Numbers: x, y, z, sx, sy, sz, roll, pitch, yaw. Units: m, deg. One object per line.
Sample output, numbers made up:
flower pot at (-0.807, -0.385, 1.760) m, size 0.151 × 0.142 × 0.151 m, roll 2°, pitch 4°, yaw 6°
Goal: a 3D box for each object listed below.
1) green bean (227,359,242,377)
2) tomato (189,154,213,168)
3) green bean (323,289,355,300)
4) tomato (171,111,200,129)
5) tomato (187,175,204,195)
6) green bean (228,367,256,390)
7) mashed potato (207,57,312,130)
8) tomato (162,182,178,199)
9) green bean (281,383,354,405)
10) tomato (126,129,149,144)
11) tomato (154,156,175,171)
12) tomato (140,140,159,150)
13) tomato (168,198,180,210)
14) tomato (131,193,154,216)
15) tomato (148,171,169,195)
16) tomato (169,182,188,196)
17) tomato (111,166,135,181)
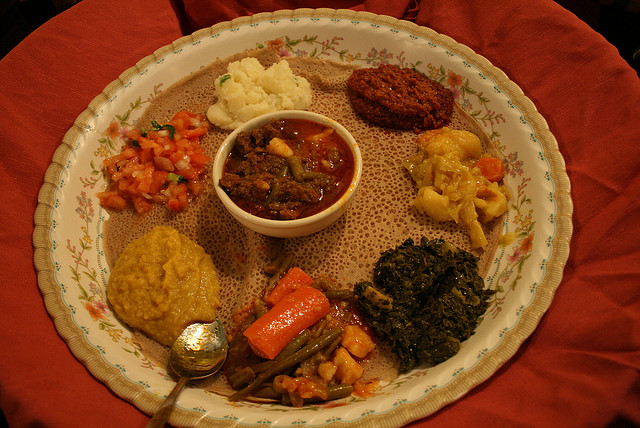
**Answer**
green bean at (-0.894, 1.591, 5.696) m, size 0.116 × 0.051 × 0.181 m, roll -8°, pitch 46°, yaw 24°
tomato at (-1.414, -0.623, 6.499) m, size 0.232 × 0.164 × 0.156 m, roll 2°, pitch 85°, yaw -2°
green bean at (0.197, 0.854, 5.907) m, size 0.395 × 0.112 × 0.124 m, roll 0°, pitch 60°, yaw 3°
tomato at (-1.613, -1.120, 6.602) m, size 0.325 × 0.109 × 0.191 m, roll 30°, pitch 84°, yaw 1°
tomato at (-1.456, -0.335, 6.407) m, size 0.172 × 0.081 × 0.207 m, roll -31°, pitch 99°, yaw -16°
green bean at (-0.787, 1.675, 5.585) m, size 0.269 × 0.076 × 0.170 m, roll -33°, pitch 82°, yaw 29°
mashed potato at (-0.777, -1.500, 6.589) m, size 1.290 × 0.350 × 0.746 m, roll -17°, pitch 85°, yaw -4°
tomato at (-1.754, -0.270, 6.387) m, size 0.164 × 0.061 × 0.170 m, roll -29°, pitch 47°, yaw 23°
green bean at (-0.030, 1.822, 5.511) m, size 0.719 × 0.070 × 0.137 m, roll -9°, pitch 85°, yaw -3°
tomato at (-2.155, -0.921, 6.470) m, size 0.237 × 0.063 × 0.142 m, roll 34°, pitch 52°, yaw 11°
tomato at (-1.802, -0.585, 6.357) m, size 0.224 × 0.104 × 0.134 m, roll 9°, pitch 84°, yaw -1°
tomato at (-1.985, -0.811, 6.374) m, size 0.218 × 0.061 × 0.111 m, roll -11°, pitch 85°, yaw -3°
tomato at (-1.688, -0.114, 6.350) m, size 0.109 × 0.094 × 0.124 m, roll 0°, pitch 85°, yaw -2°
tomato at (-2.067, -0.137, 6.398) m, size 0.204 × 0.058 × 0.269 m, roll -23°, pitch 86°, yaw -4°
tomato at (-1.875, -0.369, 6.456) m, size 0.177 × 0.206 × 0.288 m, roll 24°, pitch 53°, yaw -8°
tomato at (-1.650, -0.286, 6.404) m, size 0.186 × 0.055 × 0.138 m, roll -28°, pitch 86°, yaw -4°
tomato at (-2.276, -0.450, 6.366) m, size 0.235 × 0.065 × 0.133 m, roll -31°, pitch 45°, yaw -16°
